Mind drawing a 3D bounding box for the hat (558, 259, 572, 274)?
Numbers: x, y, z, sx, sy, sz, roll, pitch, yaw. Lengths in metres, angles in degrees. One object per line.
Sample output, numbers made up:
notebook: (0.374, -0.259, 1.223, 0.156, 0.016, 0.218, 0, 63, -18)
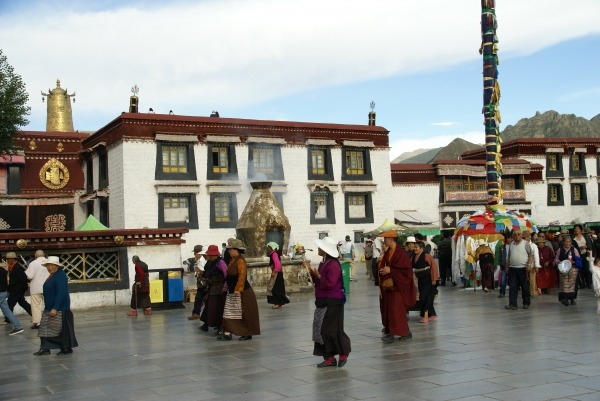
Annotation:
hat: (7.965, 2.004, 19.005, 0.379, 0.381, 0.155, 0, -2, 38)

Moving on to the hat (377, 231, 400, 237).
hat: (2.242, 0.846, 15.466, 0.386, 0.108, 0.256, 1, -5, 1)

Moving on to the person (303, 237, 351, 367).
person: (0.605, 2.193, 13.730, 0.874, 2.732, 0.625, -2, -2, 5)

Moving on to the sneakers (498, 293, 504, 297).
sneakers: (6.809, 3.241, 21.356, 0.250, 0.096, 0.080, 12, -15, -37)

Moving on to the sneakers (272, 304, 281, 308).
sneakers: (-0.775, 3.493, 20.742, 0.288, 0.100, 0.342, -2, -1, 0)

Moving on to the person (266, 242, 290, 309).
person: (-0.780, 2.508, 20.918, 0.647, 2.082, 0.799, -2, -2, -4)

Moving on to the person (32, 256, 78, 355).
person: (-5.763, 2.491, 14.867, 0.882, 2.310, 0.581, -1, -2, -22)

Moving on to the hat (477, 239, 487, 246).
hat: (6.534, 1.514, 22.794, 0.280, 0.106, 0.290, -3, -14, -9)

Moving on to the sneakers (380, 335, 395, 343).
sneakers: (2.102, 3.323, 15.122, 0.301, 0.181, 0.301, -2, -1, 2)

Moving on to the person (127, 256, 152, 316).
person: (-5.243, 2.769, 20.585, 0.705, 1.850, 1.083, -2, -2, -13)

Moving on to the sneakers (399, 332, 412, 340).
sneakers: (2.573, 3.304, 15.288, 0.405, 0.164, 0.124, 2, -8, -34)

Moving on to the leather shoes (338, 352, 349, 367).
leather shoes: (0.929, 3.409, 13.513, 0.189, 0.277, 0.360, -3, -2, 38)

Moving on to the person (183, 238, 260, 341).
person: (-1.844, 2.267, 16.379, 1.050, 2.526, 1.543, -1, -2, -21)

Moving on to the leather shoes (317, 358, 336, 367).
leather shoes: (0.579, 3.481, 13.475, 0.324, 0.130, 0.194, 1, -5, 0)

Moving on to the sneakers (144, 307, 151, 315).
sneakers: (-4.915, 3.588, 20.350, 0.131, 0.197, 0.311, 1, 2, -29)

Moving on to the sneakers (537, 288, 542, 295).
sneakers: (8.184, 3.134, 21.605, 0.202, 0.246, 0.086, -4, -21, 10)

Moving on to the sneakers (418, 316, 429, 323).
sneakers: (3.403, 3.280, 17.399, 0.276, 0.146, 0.518, -2, -1, 13)

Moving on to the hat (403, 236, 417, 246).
hat: (3.060, 1.149, 17.630, 0.346, 0.160, 0.306, 4, -7, -7)

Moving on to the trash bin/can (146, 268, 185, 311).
trash bin/can: (-4.850, 3.079, 21.725, 1.558, 1.333, 0.902, 3, -11, -41)
